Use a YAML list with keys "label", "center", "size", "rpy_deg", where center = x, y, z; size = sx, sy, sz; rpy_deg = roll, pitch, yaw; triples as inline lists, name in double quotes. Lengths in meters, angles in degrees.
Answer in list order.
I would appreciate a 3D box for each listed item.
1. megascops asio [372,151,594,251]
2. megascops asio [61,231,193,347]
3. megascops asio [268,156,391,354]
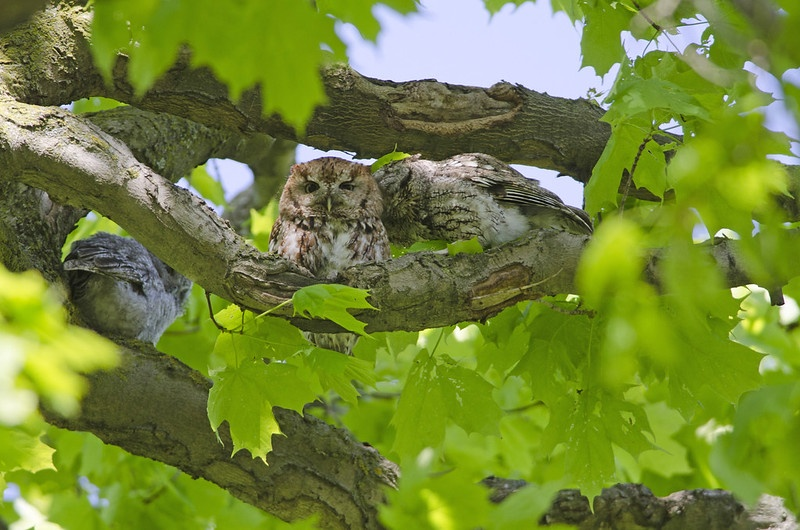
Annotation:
- label: "megascops asio"
  center: [0.498, -0.322, 8.176]
  size: [1.183, 0.474, 0.679]
  rpy_deg: [-2, -7, 22]
- label: "megascops asio"
  center: [-1.564, 0.121, 7.610]
  size: [0.263, 0.530, 0.496]
  rpy_deg: [-42, -89, 14]
- label: "megascops asio"
  center: [-0.430, -0.040, 8.594]
  size: [0.989, 1.443, 1.118]
  rpy_deg: [1, -61, -2]
